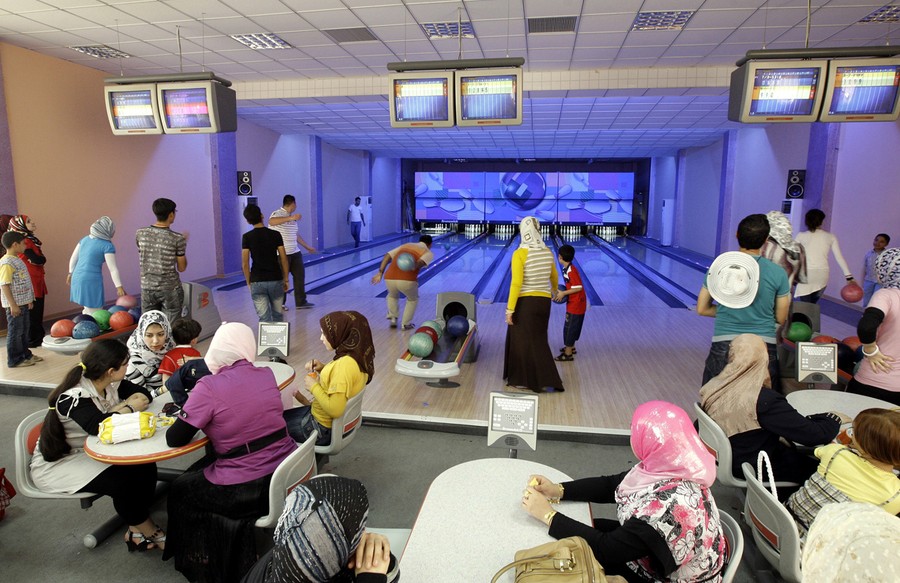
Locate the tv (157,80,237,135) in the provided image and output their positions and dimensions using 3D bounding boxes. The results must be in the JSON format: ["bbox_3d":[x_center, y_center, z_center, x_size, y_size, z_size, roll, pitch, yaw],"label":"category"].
[{"bbox_3d":[-2.406,-1.791,5.418,0.698,0.526,0.422,7,17,24],"label":"tv"}]

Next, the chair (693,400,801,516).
[{"bbox_3d":[1.657,0.975,3.410,0.580,0.678,0.500,-3,1,8],"label":"chair"}]

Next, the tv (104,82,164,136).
[{"bbox_3d":[-2.994,-1.747,5.448,0.556,0.457,0.308,-2,9,-1],"label":"tv"}]

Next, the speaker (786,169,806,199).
[{"bbox_3d":[5.061,-1.584,8.197,0.210,0.424,0.181,4,11,21],"label":"speaker"}]

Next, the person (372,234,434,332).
[{"bbox_3d":[-0.492,-0.122,6.708,0.636,1.100,0.712,16,17,22],"label":"person"}]

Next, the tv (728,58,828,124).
[{"bbox_3d":[2.831,-1.677,4.689,0.634,0.478,0.506,15,18,38],"label":"tv"}]

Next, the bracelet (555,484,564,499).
[{"bbox_3d":[0.542,0.989,2.768,0.022,0.055,0.049,2,-6,29],"label":"bracelet"}]

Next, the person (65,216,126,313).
[{"bbox_3d":[-3.574,-0.269,5.696,0.865,0.965,0.382,6,12,31],"label":"person"}]

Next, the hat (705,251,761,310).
[{"bbox_3d":[1.798,-0.109,3.558,0.282,0.103,0.333,5,-24,28],"label":"hat"}]

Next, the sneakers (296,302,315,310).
[{"bbox_3d":[-1.998,0.187,7.691,0.228,0.093,0.081,-2,10,-16],"label":"sneakers"}]

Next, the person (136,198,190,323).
[{"bbox_3d":[-2.694,-0.290,5.254,0.420,1.161,0.448,-5,11,-29],"label":"person"}]

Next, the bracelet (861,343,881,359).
[{"bbox_3d":[2.757,0.387,3.680,0.099,0.066,0.088,-7,0,24],"label":"bracelet"}]

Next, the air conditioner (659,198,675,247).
[{"bbox_3d":[6.214,-2.005,15.975,0.231,1.315,0.565,1,10,4],"label":"air conditioner"}]

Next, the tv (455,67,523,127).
[{"bbox_3d":[0.320,-1.691,5.053,0.617,0.480,0.363,-4,2,-4],"label":"tv"}]

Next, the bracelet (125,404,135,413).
[{"bbox_3d":[-1.915,0.698,3.354,0.048,0.017,0.036,3,4,-45],"label":"bracelet"}]

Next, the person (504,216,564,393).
[{"bbox_3d":[0.740,0.128,4.853,0.507,1.524,0.235,1,10,3],"label":"person"}]

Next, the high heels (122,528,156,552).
[{"bbox_3d":[-1.866,1.513,3.412,0.208,0.100,0.074,10,-12,-2],"label":"high heels"}]

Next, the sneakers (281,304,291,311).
[{"bbox_3d":[-2.183,0.200,7.448,0.084,0.103,0.246,-1,-3,-16],"label":"sneakers"}]

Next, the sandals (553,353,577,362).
[{"bbox_3d":[1.172,0.667,5.727,0.170,0.065,0.082,2,3,0],"label":"sandals"}]

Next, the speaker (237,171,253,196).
[{"bbox_3d":[-3.421,-1.816,9.321,0.194,0.393,0.205,-4,11,-25],"label":"speaker"}]

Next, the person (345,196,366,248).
[{"bbox_3d":[-2.551,-1.932,15.192,0.436,1.297,1.065,-1,10,-10],"label":"person"}]

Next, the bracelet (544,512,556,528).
[{"bbox_3d":[0.465,1.066,2.616,0.022,0.061,0.047,30,-36,-36],"label":"bracelet"}]
